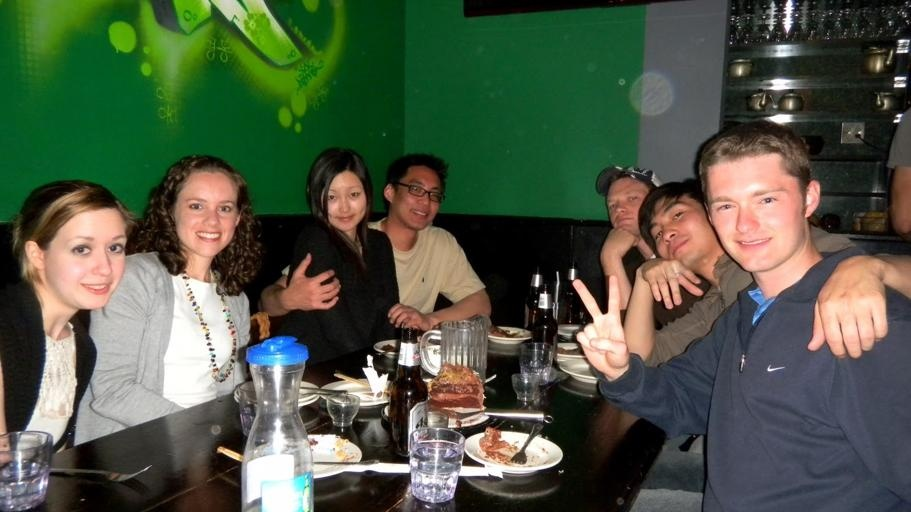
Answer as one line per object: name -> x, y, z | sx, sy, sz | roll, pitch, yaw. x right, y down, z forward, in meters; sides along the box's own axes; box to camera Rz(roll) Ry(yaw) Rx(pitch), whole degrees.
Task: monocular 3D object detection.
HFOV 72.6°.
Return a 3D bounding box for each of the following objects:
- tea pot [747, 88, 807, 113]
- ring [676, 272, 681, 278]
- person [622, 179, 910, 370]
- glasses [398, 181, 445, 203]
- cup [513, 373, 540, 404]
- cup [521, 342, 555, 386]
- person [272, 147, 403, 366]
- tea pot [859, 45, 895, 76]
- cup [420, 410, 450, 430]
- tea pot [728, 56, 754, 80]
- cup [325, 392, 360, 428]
tea pot -> 2.592, -1.275, 5.027 | 0.457, 0.199, 0.191 | -3, 14, -8
ring -> 1.149, 0.099, 3.211 | 0.026, 0.021, 0.009 | -14, 4, -3
person -> 1.447, 0.129, 3.066 | 1.181, 0.417, 0.809 | -1, 10, 9
glasses -> -0.225, -0.459, 4.166 | 0.189, 0.051, 0.184 | 16, 2, -42
cup -> 0.319, 0.589, 2.788 | 0.131, 0.094, 0.128 | 1, 5, 0
cup -> 0.387, 0.503, 2.910 | 0.207, 0.187, 0.180 | 0, 1, -18
person -> -0.663, -0.033, 3.553 | 0.789, 1.207, 0.519 | -4, 6, -27
tea pot -> 3.343, -1.569, 4.924 | 0.167, 0.238, 0.256 | -5, 15, -22
cup -> -0.072, 0.647, 2.463 | 0.089, 0.063, 0.082 | 3, -1, 0
tea pot -> 2.310, -1.537, 5.039 | 0.186, 0.136, 0.171 | 0, 2, 0
cup -> -0.457, 0.631, 2.549 | 0.144, 0.098, 0.133 | 2, 7, 0
